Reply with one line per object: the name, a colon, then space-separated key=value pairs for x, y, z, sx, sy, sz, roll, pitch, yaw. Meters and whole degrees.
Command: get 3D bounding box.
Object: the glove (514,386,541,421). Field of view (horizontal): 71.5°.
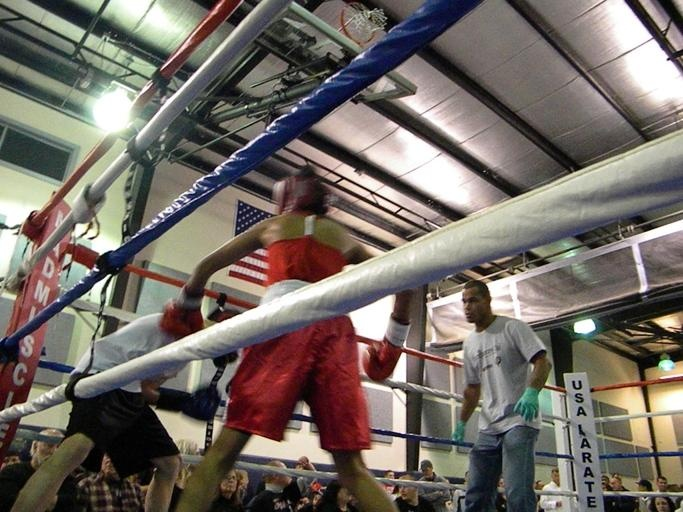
glove: x=0.901 y=0.714 z=2.312 sx=0.111 sy=0.159 sz=0.175 roll=0 pitch=-31 yaw=18
